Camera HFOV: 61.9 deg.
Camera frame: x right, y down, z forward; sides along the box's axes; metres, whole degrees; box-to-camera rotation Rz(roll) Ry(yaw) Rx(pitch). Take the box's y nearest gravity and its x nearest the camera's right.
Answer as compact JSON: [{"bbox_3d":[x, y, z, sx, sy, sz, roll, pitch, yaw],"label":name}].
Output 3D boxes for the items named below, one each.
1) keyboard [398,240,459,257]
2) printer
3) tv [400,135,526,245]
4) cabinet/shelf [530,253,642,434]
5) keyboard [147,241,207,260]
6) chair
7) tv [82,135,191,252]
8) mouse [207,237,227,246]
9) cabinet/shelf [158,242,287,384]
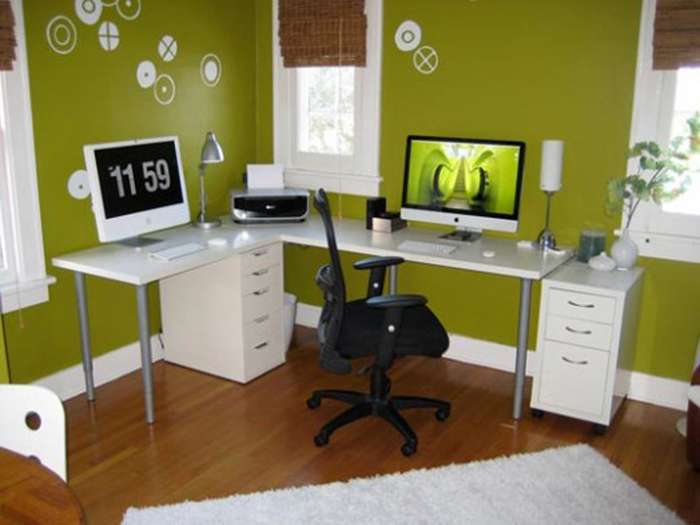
[{"bbox_3d":[0.429,-0.077,3.352,0.233,0.034,0.140,10,19,36],"label":"keyboard"},{"bbox_3d":[-0.551,-0.444,3.996,0.512,0.397,0.315,-2,3,-9],"label":"printer"},{"bbox_3d":[0.700,-0.444,3.509,0.569,0.509,0.177,8,26,25],"label":"tv"},{"bbox_3d":[1.334,0.459,3.285,0.466,0.815,0.545,10,20,30],"label":"cabinet/shelf"},{"bbox_3d":[-0.950,-0.063,3.262,0.201,0.019,0.340,13,22,33],"label":"keyboard"},{"bbox_3d":[0.147,0.291,3.141,0.774,1.238,0.864,0,10,-1],"label":"chair"},{"bbox_3d":[-1.215,-0.404,3.362,0.145,0.592,0.588,12,21,34],"label":"tv"},{"bbox_3d":[-0.767,-0.113,3.371,0.059,0.018,0.064,7,16,25],"label":"mouse"},{"bbox_3d":[-0.839,0.283,3.796,0.641,0.850,0.428,4,9,25],"label":"cabinet/shelf"}]
